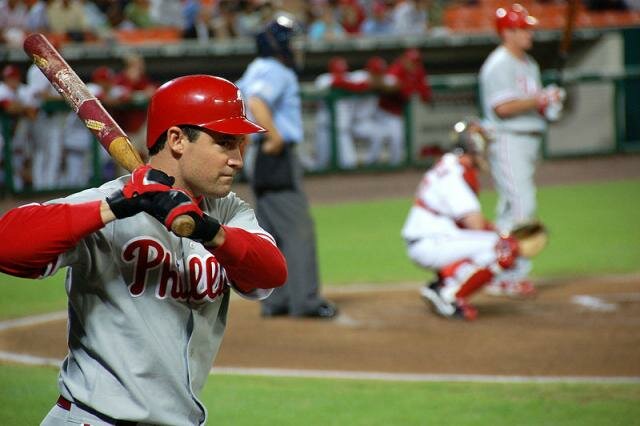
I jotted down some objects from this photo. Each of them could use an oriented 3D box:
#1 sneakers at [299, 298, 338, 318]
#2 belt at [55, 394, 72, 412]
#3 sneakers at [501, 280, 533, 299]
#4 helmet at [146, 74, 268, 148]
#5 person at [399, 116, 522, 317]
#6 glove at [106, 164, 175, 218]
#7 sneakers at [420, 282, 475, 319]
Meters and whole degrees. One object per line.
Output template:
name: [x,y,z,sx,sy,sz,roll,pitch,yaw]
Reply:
sneakers: [0.028,0.877,9.748,0.236,0.066,0.169,9,41,33]
belt: [-1.711,1.284,7.149,0.103,0.092,0.099,0,-4,0]
sneakers: [1.768,0.670,9.353,0.195,0.067,0.173,-3,6,-15]
helmet: [-0.765,-0.690,7.137,0.670,0.321,0.451,1,4,16]
person: [1.275,0.029,9.414,0.880,1.596,0.934,-2,13,-12]
glove: [-1.186,-0.123,6.998,0.361,0.146,0.355,-7,-21,29]
sneakers: [1.103,0.793,9.195,0.396,0.133,0.292,22,-7,-8]
